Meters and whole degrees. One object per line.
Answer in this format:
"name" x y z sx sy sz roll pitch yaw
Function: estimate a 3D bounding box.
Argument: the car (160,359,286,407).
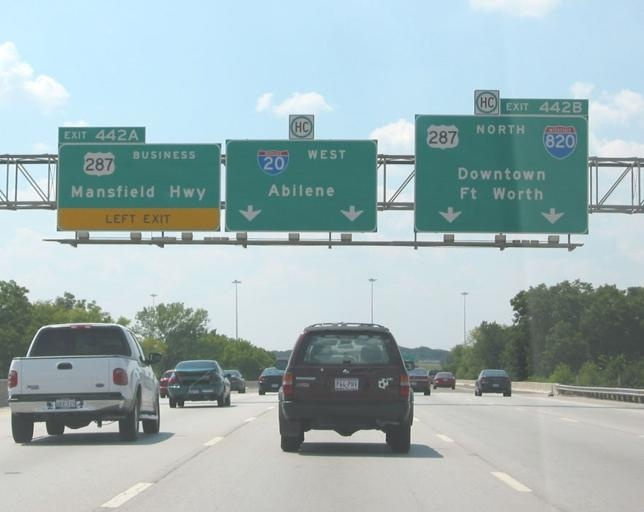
"car" -4.275 4.541 36.404 2.440 2.308 6.088 -1 -3 5

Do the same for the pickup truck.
"pickup truck" -4.999 2.702 22.187 2.587 2.660 5.178 0 -3 3
